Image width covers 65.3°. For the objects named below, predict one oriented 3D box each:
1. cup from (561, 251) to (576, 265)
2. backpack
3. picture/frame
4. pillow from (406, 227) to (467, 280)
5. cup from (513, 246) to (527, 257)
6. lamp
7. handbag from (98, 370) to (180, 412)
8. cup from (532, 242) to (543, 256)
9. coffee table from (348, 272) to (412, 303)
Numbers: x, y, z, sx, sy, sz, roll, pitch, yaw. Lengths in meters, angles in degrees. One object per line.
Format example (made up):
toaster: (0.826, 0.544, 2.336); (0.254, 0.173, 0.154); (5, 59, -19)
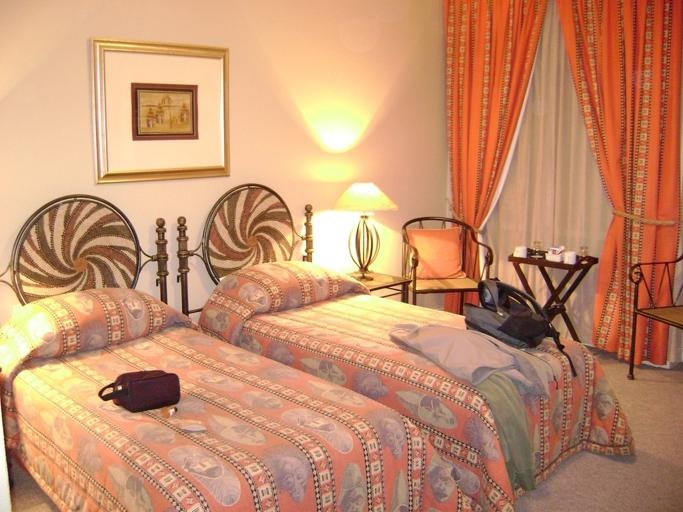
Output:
cup: (2.011, 0.029, 4.710); (0.112, 0.119, 0.104); (1, 4, 0)
backpack: (1.055, 0.387, 3.354); (0.521, 0.249, 0.388); (23, 25, 32)
picture/frame: (-1.360, -1.057, 3.876); (1.055, 1.100, 0.073); (-6, 12, -37)
pillow: (0.912, -0.002, 5.282); (0.478, 0.465, 0.179); (0, -21, -9)
cup: (1.670, -0.021, 5.018); (0.102, 0.080, 0.103); (2, 10, 0)
lamp: (0.204, -0.199, 4.939); (0.590, 0.876, 0.586); (0, -1, 27)
handbag: (-0.962, 0.605, 2.566); (0.209, 0.133, 0.277); (-5, 6, -45)
cup: (1.839, -0.051, 5.052); (0.134, 0.136, 0.138); (-1, 4, 0)
coffee table: (0.366, 0.279, 5.012); (0.378, 0.376, 0.375); (-11, 15, -42)
